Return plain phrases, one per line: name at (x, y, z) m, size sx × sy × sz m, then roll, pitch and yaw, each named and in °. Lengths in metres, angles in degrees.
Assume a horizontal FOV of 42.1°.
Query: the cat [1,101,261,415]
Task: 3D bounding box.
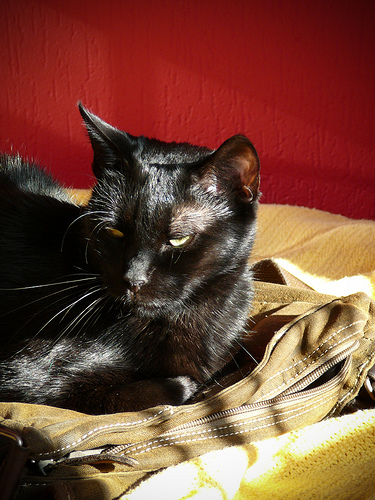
cat at (-0.123, -0.010, 0.981) m, size 0.434 × 0.318 × 0.608 m, roll -1°, pitch 16°, yaw -13°
